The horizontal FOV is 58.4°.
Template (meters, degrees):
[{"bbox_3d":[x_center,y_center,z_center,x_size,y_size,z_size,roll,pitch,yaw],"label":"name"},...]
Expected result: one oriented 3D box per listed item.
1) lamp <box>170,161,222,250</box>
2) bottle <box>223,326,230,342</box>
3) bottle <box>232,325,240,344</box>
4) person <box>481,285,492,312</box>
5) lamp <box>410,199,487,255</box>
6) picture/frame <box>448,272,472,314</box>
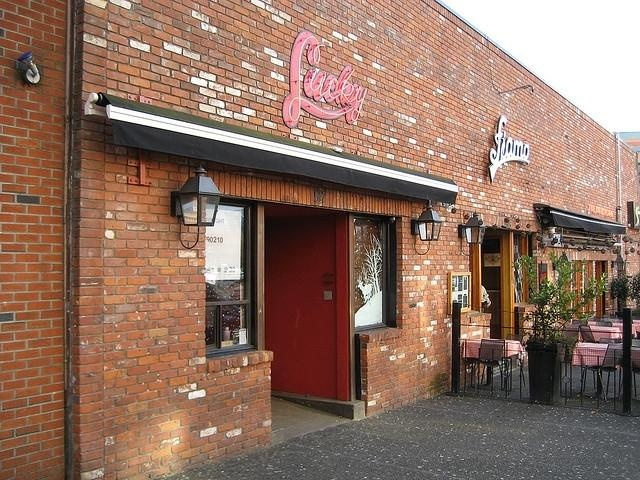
[{"bbox_3d":[-1.449,-0.373,6.606,0.399,0.961,0.523,1,-1,-39],"label":"lamp"},{"bbox_3d":[-1.220,1.217,7.393,0.098,0.186,0.010,1,-1,-45],"label":"bottle"},{"bbox_3d":[-1.120,1.250,7.495,0.026,0.218,0.132,0,-1,36],"label":"bottle"},{"bbox_3d":[3.998,1.414,13.752,0.256,0.786,0.313,4,42,22],"label":"person"},{"bbox_3d":[2.296,-0.241,10.082,1.125,0.661,1.137,-2,-1,8],"label":"lamp"},{"bbox_3d":[2.696,1.008,11.133,0.109,0.742,0.835,-3,-5,31],"label":"picture/frame"}]
